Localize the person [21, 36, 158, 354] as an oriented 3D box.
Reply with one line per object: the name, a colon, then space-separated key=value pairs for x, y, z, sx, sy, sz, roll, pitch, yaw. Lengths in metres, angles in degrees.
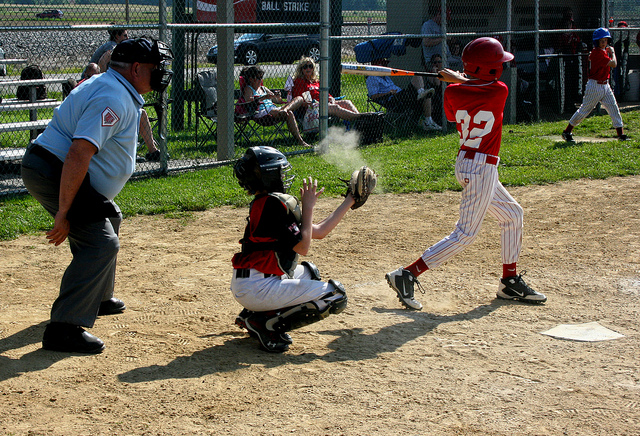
person: x=-1.964 y=-0.196 z=7.592 sx=1.089 sy=2.689 sz=0.484 roll=-2 pitch=10 yaw=-18

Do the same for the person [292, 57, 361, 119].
person: x=0.205 y=-2.007 z=13.903 sx=1.405 sy=0.944 sz=0.639 roll=12 pitch=22 yaw=28

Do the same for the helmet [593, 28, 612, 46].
helmet: x=4.628 y=-2.979 z=14.543 sx=0.260 sy=0.275 sz=0.392 roll=4 pitch=10 yaw=14

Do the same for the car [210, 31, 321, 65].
car: x=-0.883 y=-3.185 z=17.449 sx=2.460 sy=0.753 sz=1.114 roll=1 pitch=17 yaw=1

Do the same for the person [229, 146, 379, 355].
person: x=-0.123 y=0.282 z=7.914 sx=1.377 sy=1.730 sz=1.155 roll=-1 pitch=5 yaw=-20

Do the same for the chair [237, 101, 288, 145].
chair: x=-0.871 y=-1.516 z=13.959 sx=0.707 sy=0.870 sz=0.627 roll=0 pitch=8 yaw=8

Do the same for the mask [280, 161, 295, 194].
mask: x=-0.279 y=-0.340 z=7.639 sx=0.127 sy=0.230 sz=0.183 roll=-8 pitch=3 yaw=10
